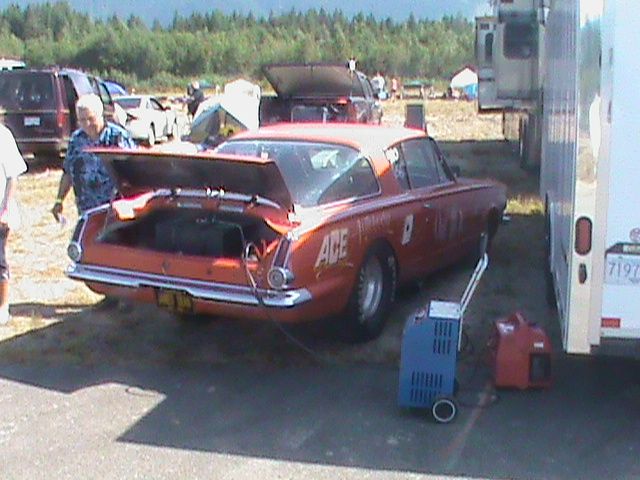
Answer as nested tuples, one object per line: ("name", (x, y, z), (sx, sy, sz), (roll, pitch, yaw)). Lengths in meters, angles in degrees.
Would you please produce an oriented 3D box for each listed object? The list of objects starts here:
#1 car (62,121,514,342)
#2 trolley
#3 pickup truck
("car", (0.214, -0.351, 6.298), (1.826, 1.465, 3.790), (10, 19, 31))
("trolley", (0.875, 0.785, 4.755), (0.484, 0.943, 0.622), (7, 20, 29))
("pickup truck", (-0.041, -3.479, 16.102), (1.625, 1.515, 3.014), (6, 20, 22))
